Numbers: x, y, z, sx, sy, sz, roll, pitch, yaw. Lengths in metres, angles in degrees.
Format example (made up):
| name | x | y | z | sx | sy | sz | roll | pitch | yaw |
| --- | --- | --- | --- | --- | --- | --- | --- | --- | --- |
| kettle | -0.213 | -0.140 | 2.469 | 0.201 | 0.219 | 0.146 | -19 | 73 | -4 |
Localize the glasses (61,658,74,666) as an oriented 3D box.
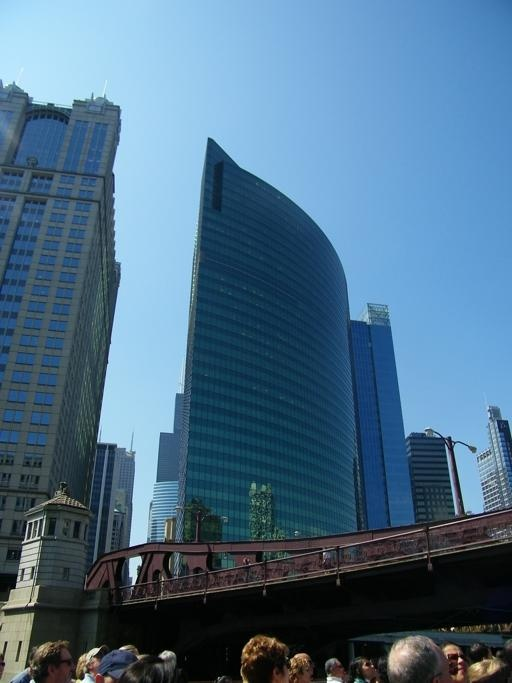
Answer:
| name | x | y | z | sx | sy | sz | roll | pitch | yaw |
| --- | --- | --- | --- | --- | --- | --- | --- | --- | --- |
| glasses | -1.832 | 3.115 | 5.446 | 0.145 | 0.047 | 0.152 | -7 | -32 | -11 |
